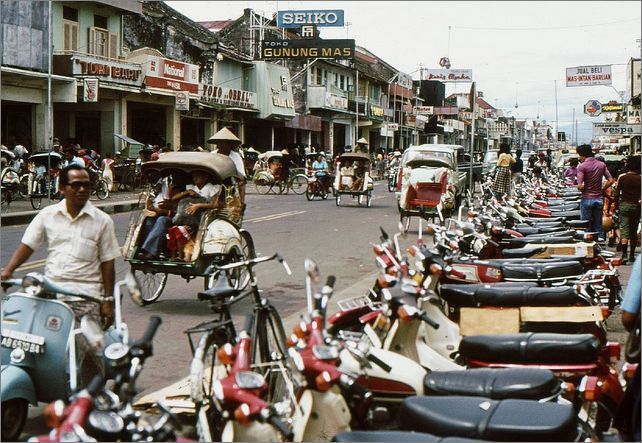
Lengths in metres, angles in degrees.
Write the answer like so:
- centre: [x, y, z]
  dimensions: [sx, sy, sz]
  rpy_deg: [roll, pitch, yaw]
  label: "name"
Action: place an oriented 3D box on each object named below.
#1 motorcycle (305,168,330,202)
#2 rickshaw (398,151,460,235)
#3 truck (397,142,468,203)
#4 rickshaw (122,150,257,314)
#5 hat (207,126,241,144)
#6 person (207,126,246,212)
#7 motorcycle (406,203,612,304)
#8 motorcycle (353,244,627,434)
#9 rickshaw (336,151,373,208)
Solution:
- centre: [-0.068, -1.308, 24.451]
  dimensions: [0.800, 1.053, 1.465]
  rpy_deg: [2, 8, 0]
  label: "motorcycle"
- centre: [2.783, -0.804, 17.634]
  dimensions: [1.501, 1.859, 3.288]
  rpy_deg: [2, 18, 11]
  label: "rickshaw"
- centre: [3.597, -1.200, 20.800]
  dimensions: [1.749, 2.251, 3.847]
  rpy_deg: [1, 11, 15]
  label: "truck"
- centre: [-1.835, 0.094, 9.122]
  dimensions: [1.294, 2.004, 1.632]
  rpy_deg: [0, 9, 8]
  label: "rickshaw"
- centre: [-1.504, -1.306, 10.471]
  dimensions: [0.474, 0.231, 0.496]
  rpy_deg: [0, 0, -3]
  label: "hat"
- centre: [-1.371, -1.034, 10.333]
  dimensions: [0.546, 1.704, 0.642]
  rpy_deg: [0, 15, 10]
  label: "person"
- centre: [2.282, 0.467, 7.474]
  dimensions: [2.051, 1.316, 1.122]
  rpy_deg: [4, 3, 12]
  label: "motorcycle"
- centre: [1.443, 1.006, 5.646]
  dimensions: [1.922, 1.304, 1.356]
  rpy_deg: [3, 3, 15]
  label: "motorcycle"
- centre: [1.062, -1.417, 22.609]
  dimensions: [1.202, 1.648, 2.022]
  rpy_deg: [2, 8, 1]
  label: "rickshaw"
